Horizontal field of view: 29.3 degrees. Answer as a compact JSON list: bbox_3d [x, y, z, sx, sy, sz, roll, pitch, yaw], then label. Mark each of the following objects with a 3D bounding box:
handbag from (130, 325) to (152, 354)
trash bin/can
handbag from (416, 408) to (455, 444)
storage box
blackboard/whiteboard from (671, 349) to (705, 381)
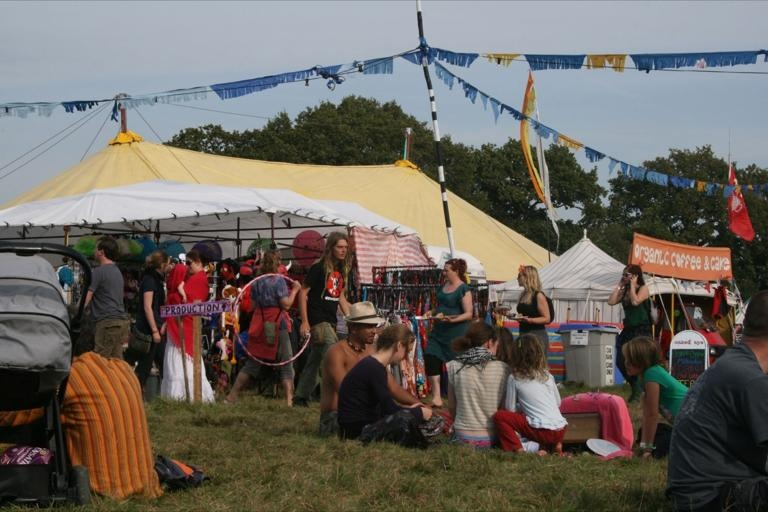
[{"bbox_3d":[-4.054,1.430,24.793,0.380,0.425,0.416,2,-3,2],"label":"handbag"},{"bbox_3d":[3.977,2.046,29.106,1.132,1.470,1.094,-9,-15,42],"label":"trash bin/can"},{"bbox_3d":[0.817,2.623,22.597,0.512,0.407,0.210,8,17,7],"label":"handbag"},{"bbox_3d":[4.066,1.977,28.938,1.174,1.263,1.189,0,-5,1],"label":"storage box"},{"bbox_3d":[5.192,1.853,24.868,0.509,0.585,0.061,-2,-3,27],"label":"blackboard/whiteboard"}]
